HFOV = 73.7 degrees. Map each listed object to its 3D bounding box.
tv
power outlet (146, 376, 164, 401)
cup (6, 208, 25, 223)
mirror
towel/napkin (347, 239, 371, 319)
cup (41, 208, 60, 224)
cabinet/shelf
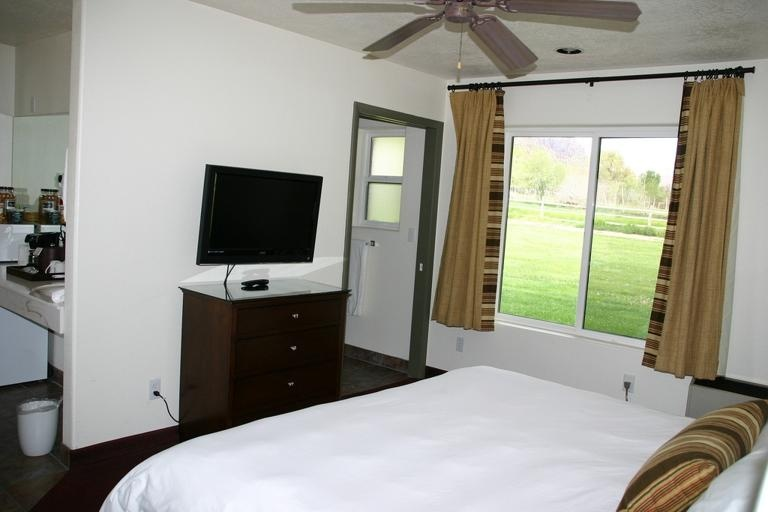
[{"bbox_3d":[-0.987,-0.317,3.911,0.900,0.588,0.095,0,10,-41],"label":"tv"},{"bbox_3d":[-1.712,0.994,3.861,0.143,0.172,0.128,6,6,37],"label":"power outlet"},{"bbox_3d":[-3.115,-0.341,4.352,0.134,0.121,0.129,2,8,0],"label":"cup"},{"bbox_3d":[-3.185,-0.882,4.779,1.093,1.147,0.088,8,5,29],"label":"mirror"},{"bbox_3d":[-0.226,0.173,5.978,0.081,0.677,0.536,5,-19,19],"label":"towel/napkin"},{"bbox_3d":[-2.933,-0.346,4.484,0.214,0.121,0.162,1,13,-14],"label":"cup"},{"bbox_3d":[-0.897,0.735,3.606,0.777,1.352,1.260,5,6,42],"label":"cabinet/shelf"}]
